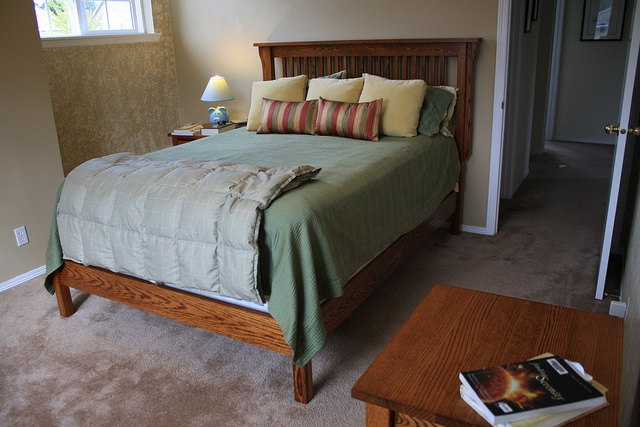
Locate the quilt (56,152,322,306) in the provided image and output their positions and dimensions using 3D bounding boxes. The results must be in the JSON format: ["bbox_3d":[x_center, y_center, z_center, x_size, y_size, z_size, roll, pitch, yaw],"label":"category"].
[{"bbox_3d":[-0.851,0.044,2.527,1.420,0.614,0.500,10,27,21],"label":"quilt"}]

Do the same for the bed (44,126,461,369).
[{"bbox_3d":[-0.130,-0.077,2.785,1.460,0.815,2.186,10,20,30],"label":"bed"}]

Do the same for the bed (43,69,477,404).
[{"bbox_3d":[-0.296,-0.330,3.483,2.395,1.460,2.854,7,20,25],"label":"bed"}]

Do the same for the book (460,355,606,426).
[{"bbox_3d":[0.691,0.590,1.432,0.299,0.040,0.210,-6,28,-9],"label":"book"}]

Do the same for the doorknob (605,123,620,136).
[{"bbox_3d":[1.821,-0.524,2.665,0.071,0.075,0.100,17,29,32],"label":"doorknob"}]
